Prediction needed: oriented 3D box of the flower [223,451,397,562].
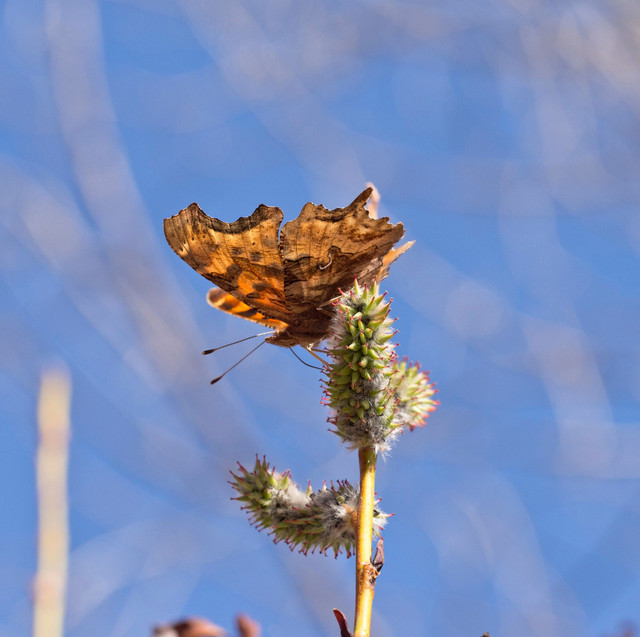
[{"bbox_3d":[-0.071,1.349,8.775,1.139,0.468,0.545,5,-66,4],"label":"flower"}]
